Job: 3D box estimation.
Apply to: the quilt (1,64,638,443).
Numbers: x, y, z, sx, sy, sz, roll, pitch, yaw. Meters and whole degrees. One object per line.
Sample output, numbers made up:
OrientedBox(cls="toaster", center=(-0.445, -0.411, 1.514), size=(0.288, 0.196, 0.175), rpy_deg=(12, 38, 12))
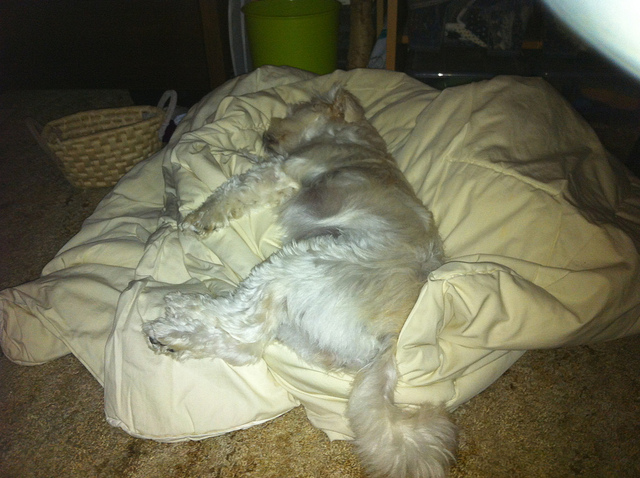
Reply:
OrientedBox(cls="quilt", center=(0.029, 0.257, 3.526), size=(3.306, 0.599, 2.387), rpy_deg=(7, 47, 10))

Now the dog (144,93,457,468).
OrientedBox(cls="dog", center=(0.041, 0.142, 3.202), size=(1.591, 0.812, 1.923), rpy_deg=(-9, 63, -9))
